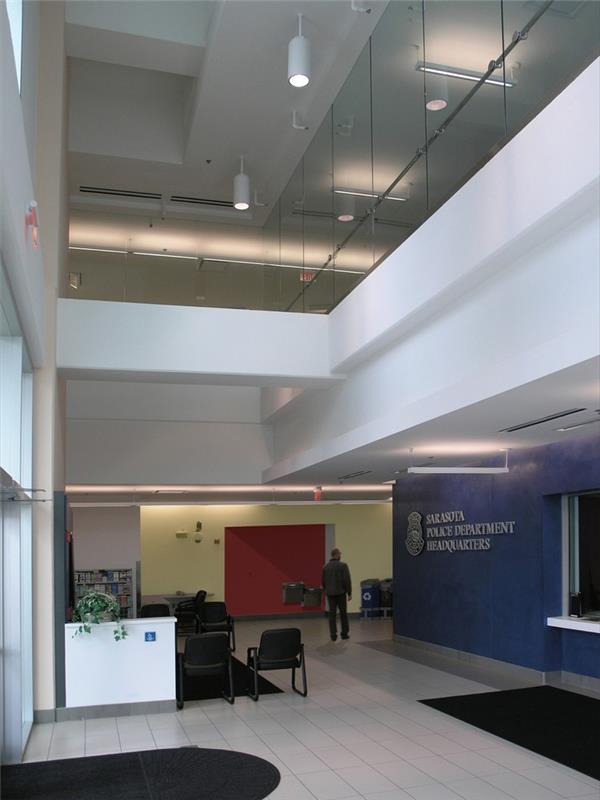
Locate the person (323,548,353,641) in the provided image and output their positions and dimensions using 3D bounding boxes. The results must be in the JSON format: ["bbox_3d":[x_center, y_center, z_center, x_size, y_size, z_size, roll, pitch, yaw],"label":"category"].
[{"bbox_3d":[0.761,4.015,12.721,0.537,1.786,0.964,-2,-9,2],"label":"person"}]

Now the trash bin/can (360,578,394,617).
[{"bbox_3d":[2.051,5.212,16.219,0.932,1.183,0.885,0,-2,3],"label":"trash bin/can"}]

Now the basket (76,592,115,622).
[{"bbox_3d":[-2.280,2.344,6.927,0.305,0.225,0.367,5,-16,-5],"label":"basket"}]

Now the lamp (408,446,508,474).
[{"bbox_3d":[2.335,0.861,8.315,0.838,0.259,0.774,0,-7,0],"label":"lamp"}]

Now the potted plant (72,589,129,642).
[{"bbox_3d":[-2.291,2.339,7.061,0.568,0.385,0.595,-14,-5,39],"label":"potted plant"}]
